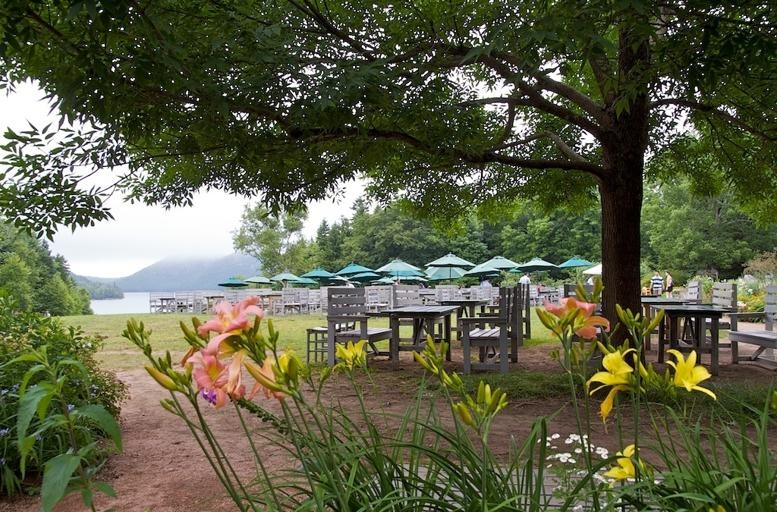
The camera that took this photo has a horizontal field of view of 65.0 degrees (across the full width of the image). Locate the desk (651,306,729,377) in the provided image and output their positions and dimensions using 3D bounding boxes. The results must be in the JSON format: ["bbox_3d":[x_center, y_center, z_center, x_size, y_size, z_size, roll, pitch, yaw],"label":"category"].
[{"bbox_3d":[4.344,1.217,8.752,0.698,0.760,1.593,0,-1,11],"label":"desk"}]
